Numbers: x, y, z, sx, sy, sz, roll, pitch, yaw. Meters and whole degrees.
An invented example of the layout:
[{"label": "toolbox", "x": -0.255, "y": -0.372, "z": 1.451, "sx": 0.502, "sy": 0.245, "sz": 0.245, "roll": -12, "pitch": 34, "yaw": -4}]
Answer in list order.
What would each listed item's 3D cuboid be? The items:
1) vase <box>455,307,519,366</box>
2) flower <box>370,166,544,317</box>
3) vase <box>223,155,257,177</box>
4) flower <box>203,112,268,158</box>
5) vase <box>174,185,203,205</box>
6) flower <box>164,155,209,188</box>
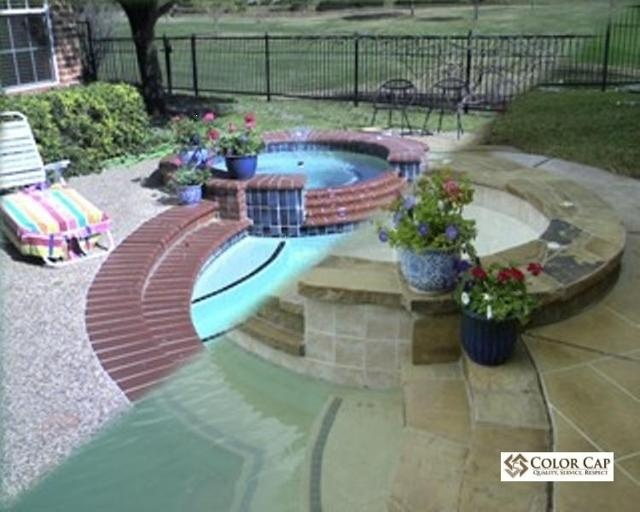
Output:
[{"label": "vase", "x": 1.288, "y": 0.637, "z": 3.786, "sx": 0.394, "sy": 0.333, "sz": 0.417, "roll": -3, "pitch": 15, "yaw": -9}, {"label": "flower", "x": 1.164, "y": 0.077, "z": 4.124, "sx": 1.263, "sy": 0.844, "sz": 1.119, "roll": 23, "pitch": 56, "yaw": 29}, {"label": "vase", "x": -1.196, "y": -1.366, "z": 7.481, "sx": 0.340, "sy": 0.276, "sz": 0.366, "roll": -1, "pitch": 22, "yaw": -2}, {"label": "flower", "x": -1.341, "y": -1.880, "z": 7.672, "sx": 0.783, "sy": 0.557, "sz": 0.834, "roll": -7, "pitch": 11, "yaw": -35}, {"label": "vase", "x": -2.004, "y": -0.954, "z": 7.367, "sx": 0.277, "sy": 0.248, "sz": 0.324, "roll": 11, "pitch": 22, "yaw": 35}, {"label": "flower", "x": -2.115, "y": -1.287, "z": 7.422, "sx": 0.594, "sy": 0.415, "sz": 0.741, "roll": 5, "pitch": 24, "yaw": 6}]
